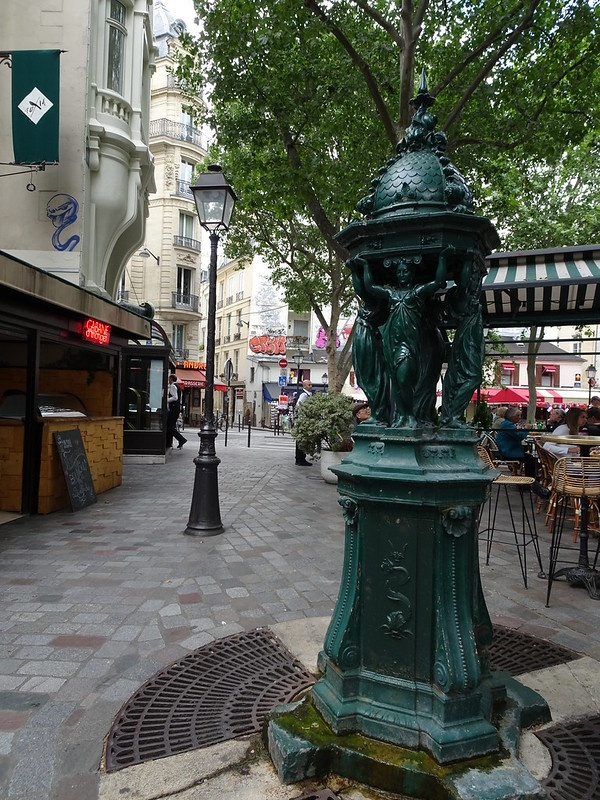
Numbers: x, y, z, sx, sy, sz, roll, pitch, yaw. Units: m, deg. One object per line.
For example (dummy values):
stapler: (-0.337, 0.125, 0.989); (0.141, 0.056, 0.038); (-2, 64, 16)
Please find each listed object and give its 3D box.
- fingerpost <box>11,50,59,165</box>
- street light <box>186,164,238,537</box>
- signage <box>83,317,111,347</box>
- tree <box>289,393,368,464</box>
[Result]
fingerpost: (-3.908, -4.287, 9.933); (0.718, 1.591, 0.527); (-1, 4, -14)
street light: (-0.925, -0.554, 6.806); (0.511, 3.831, 1.436); (0, 4, -6)
signage: (-2.863, -0.946, 9.402); (0.229, 0.314, 0.991); (0, 4, -8)
tree: (0.386, 0.373, 10.653); (0.903, 1.196, 1.106); (-1, 5, 4)
